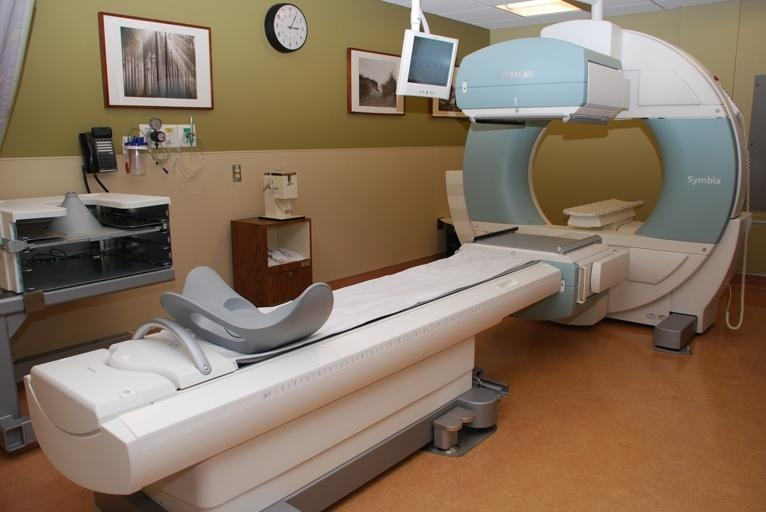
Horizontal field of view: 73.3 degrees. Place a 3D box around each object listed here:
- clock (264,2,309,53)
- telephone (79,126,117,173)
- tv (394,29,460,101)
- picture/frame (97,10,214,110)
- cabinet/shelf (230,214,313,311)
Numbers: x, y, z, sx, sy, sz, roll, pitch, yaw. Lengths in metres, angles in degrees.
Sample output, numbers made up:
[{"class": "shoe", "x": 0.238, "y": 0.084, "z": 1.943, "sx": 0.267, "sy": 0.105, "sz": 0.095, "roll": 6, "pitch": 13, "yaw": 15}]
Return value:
[{"class": "clock", "x": -0.945, "y": -2.150, "z": 4.870, "sx": 0.130, "sy": 0.408, "sz": 0.408, "roll": 5, "pitch": 43, "yaw": 38}, {"class": "telephone", "x": -2.189, "y": -0.807, "z": 3.965, "sx": 0.214, "sy": 0.317, "sz": 0.163, "roll": -9, "pitch": 15, "yaw": -26}, {"class": "tv", "x": 0.314, "y": -1.287, "z": 3.497, "sx": 0.169, "sy": 0.424, "sz": 0.504, "roll": 11, "pitch": 22, "yaw": 40}, {"class": "picture/frame", "x": -1.893, "y": -1.582, "z": 4.162, "sx": 0.927, "sy": 0.680, "sz": 0.030, "roll": -7, "pitch": 13, "yaw": -38}, {"class": "cabinet/shelf", "x": -1.058, "y": 0.005, "z": 4.832, "sx": 0.559, "sy": 0.719, "sz": 0.664, "roll": 11, "pitch": 22, "yaw": 40}]
